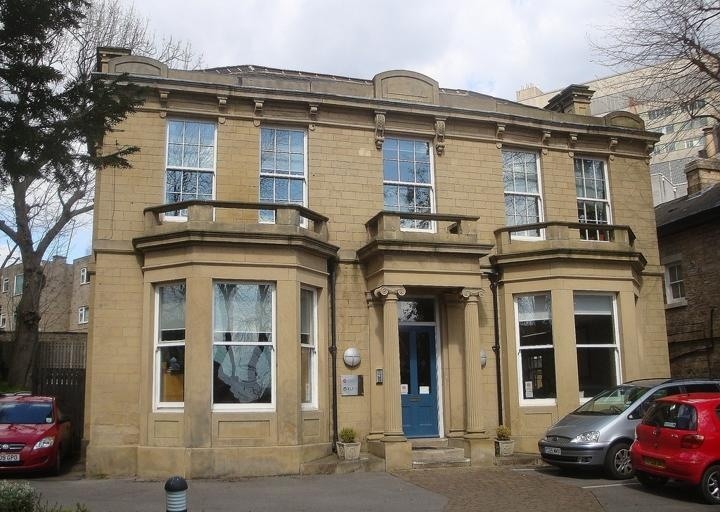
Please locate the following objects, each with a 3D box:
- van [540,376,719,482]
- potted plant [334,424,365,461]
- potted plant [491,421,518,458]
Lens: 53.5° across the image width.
[{"bbox_3d":[6.442,4.218,17.667,3.804,1.757,2.192,3,-12,-8],"label":"van"},{"bbox_3d":[-0.364,4.879,18.473,0.677,0.819,0.549,-5,-14,17],"label":"potted plant"},{"bbox_3d":[3.887,5.108,19.685,0.613,0.758,0.590,6,-15,-24],"label":"potted plant"}]
